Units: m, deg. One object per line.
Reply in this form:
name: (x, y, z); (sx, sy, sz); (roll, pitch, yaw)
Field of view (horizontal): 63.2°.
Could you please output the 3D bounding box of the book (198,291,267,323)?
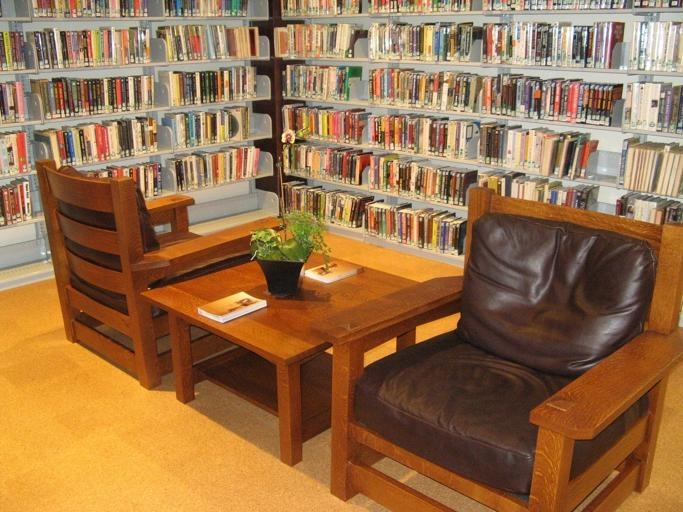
book: (-0.482, 0.222, 2.448); (0.159, 0.027, 0.162); (10, 17, 40)
